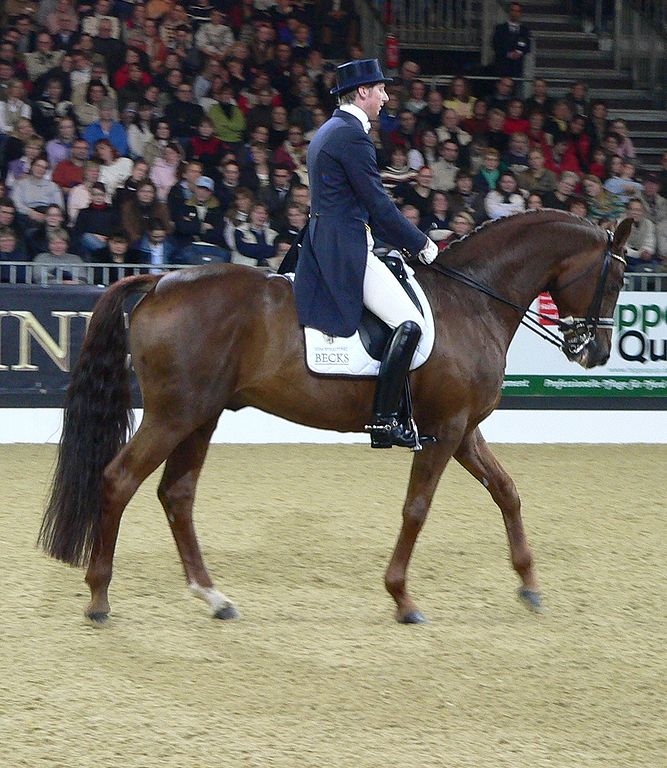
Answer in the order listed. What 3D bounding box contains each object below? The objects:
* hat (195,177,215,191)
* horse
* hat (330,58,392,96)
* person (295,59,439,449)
[{"bbox_3d":[-1.094,-1.684,9.191,0.160,0.113,0.180,1,13,-7],"label":"hat"},{"bbox_3d":[-0.027,0.102,4.818,2.509,1.738,0.770,-1,15,-13],"label":"horse"},{"bbox_3d":[0.120,-1.332,4.762,0.225,0.081,0.234,-10,11,9],"label":"hat"},{"bbox_3d":[0.133,-0.539,4.744,0.599,1.699,0.568,3,15,-1],"label":"person"}]
